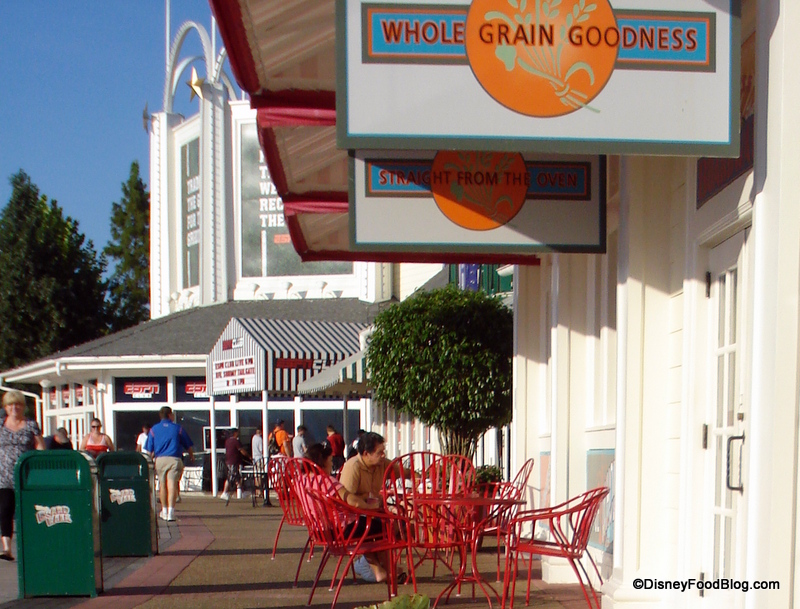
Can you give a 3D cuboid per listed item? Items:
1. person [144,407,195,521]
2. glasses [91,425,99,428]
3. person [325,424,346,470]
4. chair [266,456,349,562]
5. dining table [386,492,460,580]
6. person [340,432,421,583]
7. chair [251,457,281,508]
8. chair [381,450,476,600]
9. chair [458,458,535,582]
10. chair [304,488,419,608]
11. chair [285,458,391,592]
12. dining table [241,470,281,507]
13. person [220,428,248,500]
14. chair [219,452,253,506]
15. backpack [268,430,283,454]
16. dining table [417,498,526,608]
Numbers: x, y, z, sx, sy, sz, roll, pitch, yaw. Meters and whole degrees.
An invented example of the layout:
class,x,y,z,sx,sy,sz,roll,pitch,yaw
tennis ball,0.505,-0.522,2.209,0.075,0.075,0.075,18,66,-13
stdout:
class,x,y,z,sx,sy,sz,roll,pitch,yaw
person,-3.311,2.280,18.678,0.514,1.679,0.707,-3,-8,7
glasses,-4.775,1.900,20.502,0.072,0.030,0.088,5,-12,-13
person,-1.227,2.851,25.027,0.315,1.178,0.246,-14,19,-38
chair,-0.878,2.134,12.979,0.586,1.085,0.651,18,-12,-37
dining table,0.258,2.039,11.471,0.503,0.745,0.495,3,-12,-10
person,-0.262,1.831,12.117,0.474,1.340,0.610,-4,16,-32
chair,-2.472,3.140,23.571,0.446,0.795,0.519,-3,-8,-3
chair,0.415,2.017,12.214,0.769,1.375,0.889,-2,-6,14
chair,0.898,2.099,13.005,0.637,1.222,0.778,2,8,-8
chair,-0.336,1.996,11.428,0.786,1.441,0.915,-2,-4,-12
chair,-0.513,1.959,11.643,0.810,1.615,0.868,-10,17,-34
dining table,-2.549,3.273,24.174,0.566,0.798,0.593,-17,5,-21
person,-3.232,2.992,25.642,0.343,1.234,0.342,2,12,16
chair,-3.286,3.342,25.868,0.538,1.087,0.702,0,3,-2
backpack,-2.447,2.716,25.851,0.153,0.531,0.459,-3,1,-24
dining table,0.520,2.119,11.736,0.783,0.976,0.909,-3,-14,15
